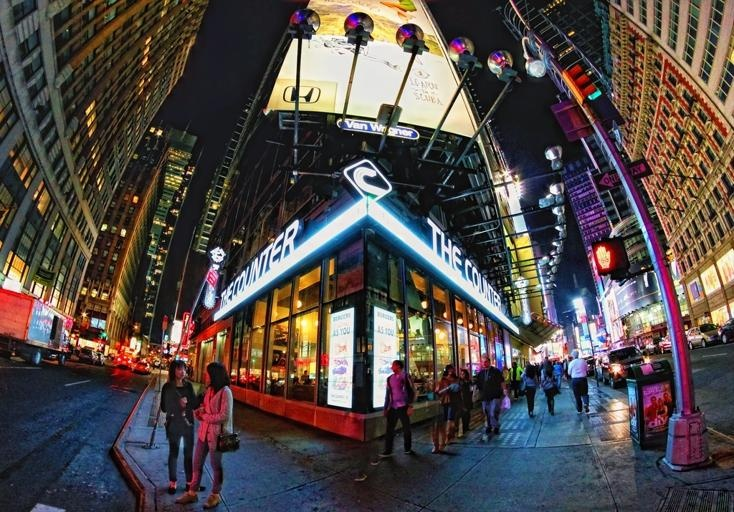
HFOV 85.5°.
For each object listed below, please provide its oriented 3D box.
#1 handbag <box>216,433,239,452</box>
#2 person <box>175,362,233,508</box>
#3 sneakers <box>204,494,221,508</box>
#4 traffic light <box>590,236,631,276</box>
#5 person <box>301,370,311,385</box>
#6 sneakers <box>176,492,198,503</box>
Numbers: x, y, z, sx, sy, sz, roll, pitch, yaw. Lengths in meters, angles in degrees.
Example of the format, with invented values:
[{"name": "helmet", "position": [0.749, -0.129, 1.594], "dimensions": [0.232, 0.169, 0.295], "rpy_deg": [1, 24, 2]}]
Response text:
[{"name": "handbag", "position": [-3.206, 4.275, 9.120], "dimensions": [0.535, 0.496, 0.398], "rpy_deg": [19, -33, -41]}, {"name": "person", "position": [-3.715, 4.101, 9.256], "dimensions": [0.941, 3.176, 1.068], "rpy_deg": [2, -2, -43]}, {"name": "sneakers", "position": [-3.521, 5.528, 8.962], "dimensions": [0.185, 0.173, 0.398], "rpy_deg": [-10, -27, 0]}, {"name": "traffic light", "position": [6.639, -0.132, 11.003], "dimensions": [0.765, 0.581, 1.067], "rpy_deg": [-13, -63, 27]}, {"name": "person", "position": [-2.445, 4.874, 15.860], "dimensions": [0.137, 0.500, 0.719], "rpy_deg": [1, -3, -35]}, {"name": "sneakers", "position": [-4.152, 5.497, 9.090], "dimensions": [0.402, 0.212, 0.225], "rpy_deg": [11, -25, -16]}]
